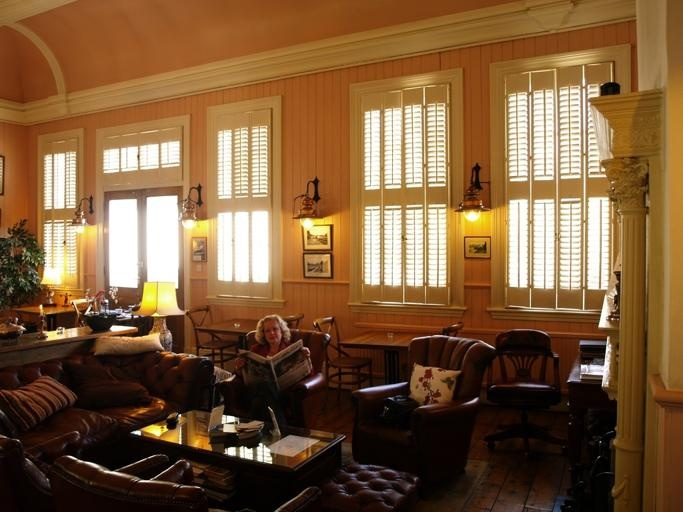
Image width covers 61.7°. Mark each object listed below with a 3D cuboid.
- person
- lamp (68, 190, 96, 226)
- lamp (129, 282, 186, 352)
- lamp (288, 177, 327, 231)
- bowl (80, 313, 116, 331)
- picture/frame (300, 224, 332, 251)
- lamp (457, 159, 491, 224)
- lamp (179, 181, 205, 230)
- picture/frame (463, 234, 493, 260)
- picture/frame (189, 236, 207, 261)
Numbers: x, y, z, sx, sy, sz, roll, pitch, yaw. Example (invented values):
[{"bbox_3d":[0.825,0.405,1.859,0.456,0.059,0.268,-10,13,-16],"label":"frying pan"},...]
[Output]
[{"bbox_3d":[-0.597,1.084,5.122,0.636,1.274,0.728,2,-28,-8],"label":"person"},{"bbox_3d":[-4.124,-0.722,9.043,0.328,0.490,0.290,-2,6,-4],"label":"lamp"},{"bbox_3d":[-2.007,0.686,6.284,0.489,0.843,0.507,0,2,-10],"label":"lamp"},{"bbox_3d":[-0.446,-0.685,7.185,0.317,0.610,0.260,-3,3,-26],"label":"lamp"},{"bbox_3d":[-2.423,0.655,5.693,0.212,0.120,0.214,3,-4,0],"label":"bowl"},{"bbox_3d":[-0.320,-0.245,7.305,0.327,0.282,0.024,0,-2,28],"label":"picture/frame"},{"bbox_3d":[1.462,-0.724,6.414,0.386,0.600,0.403,5,3,4],"label":"lamp"},{"bbox_3d":[-2.229,-0.715,8.155,0.506,0.650,0.310,-2,-1,41],"label":"lamp"},{"bbox_3d":[1.557,-0.109,6.497,0.278,0.242,0.019,1,-1,22],"label":"picture/frame"},{"bbox_3d":[-2.055,-0.104,8.200,0.294,0.340,0.043,-2,-1,36],"label":"picture/frame"}]
